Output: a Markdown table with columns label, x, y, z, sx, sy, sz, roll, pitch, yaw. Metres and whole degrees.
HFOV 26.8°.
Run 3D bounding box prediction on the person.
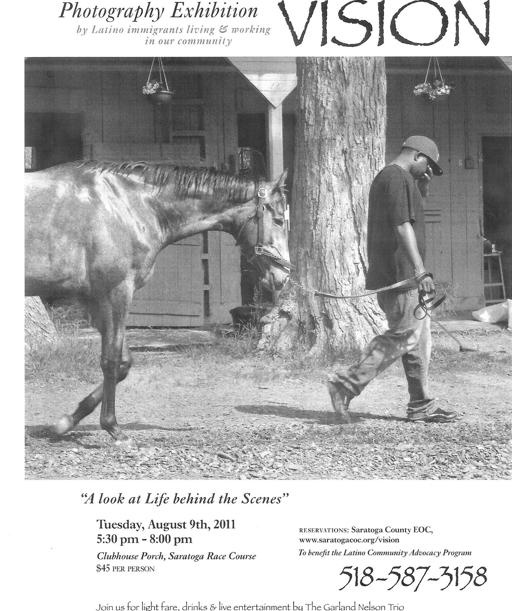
| label | x | y | z | sx | sy | sz | roll | pitch | yaw |
| --- | --- | --- | --- | --- | --- | --- | --- | --- | --- |
| person | 0.891 | -0.153 | 7.380 | 0.789 | 2.010 | 0.786 | 0 | 2 | 10 |

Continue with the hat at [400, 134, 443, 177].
| label | x | y | z | sx | sy | sz | roll | pitch | yaw |
| --- | --- | --- | --- | --- | --- | --- | --- | --- | --- |
| hat | 1.156 | -1.052 | 7.485 | 0.258 | 0.287 | 0.501 | 0 | 3 | 10 |

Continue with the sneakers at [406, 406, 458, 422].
| label | x | y | z | sx | sy | sz | roll | pitch | yaw |
| --- | --- | --- | --- | --- | --- | --- | --- | --- | --- |
| sneakers | 1.250 | 0.786 | 7.619 | 0.333 | 0.140 | 0.131 | -2 | 2 | -6 |
